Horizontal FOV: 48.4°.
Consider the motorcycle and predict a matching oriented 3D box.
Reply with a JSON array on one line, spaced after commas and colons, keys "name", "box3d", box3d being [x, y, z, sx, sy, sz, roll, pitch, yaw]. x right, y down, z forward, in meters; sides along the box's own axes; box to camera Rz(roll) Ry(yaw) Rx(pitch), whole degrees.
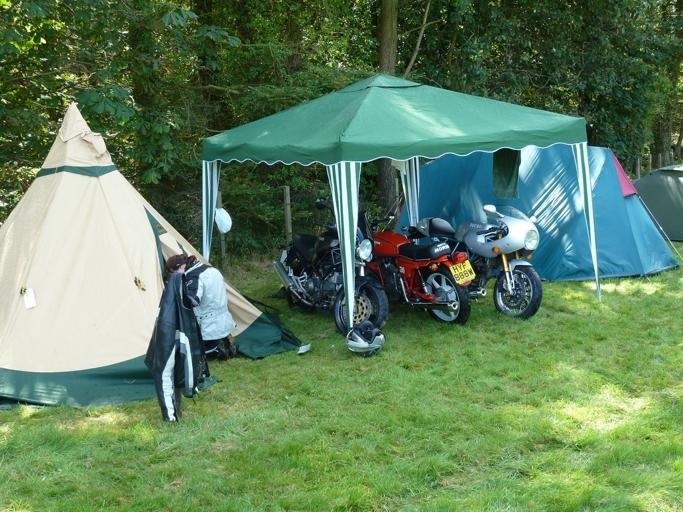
[{"name": "motorcycle", "box3d": [0.891, 0.389, 10.435, 3.275, 2.007, 1.686, -2, 17, 23]}]

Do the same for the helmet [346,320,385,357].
[{"name": "helmet", "box3d": [0.285, 1.020, 9.289, 0.404, 0.367, 0.351, 0, 2, -6]}]

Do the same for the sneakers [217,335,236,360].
[{"name": "sneakers", "box3d": [-1.420, 1.150, 9.449, 0.174, 0.289, 0.272, -1, 11, 0]}]

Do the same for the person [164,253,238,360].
[{"name": "person", "box3d": [-1.532, 0.566, 8.797, 0.390, 1.277, 0.721, -17, 20, -11]}]
